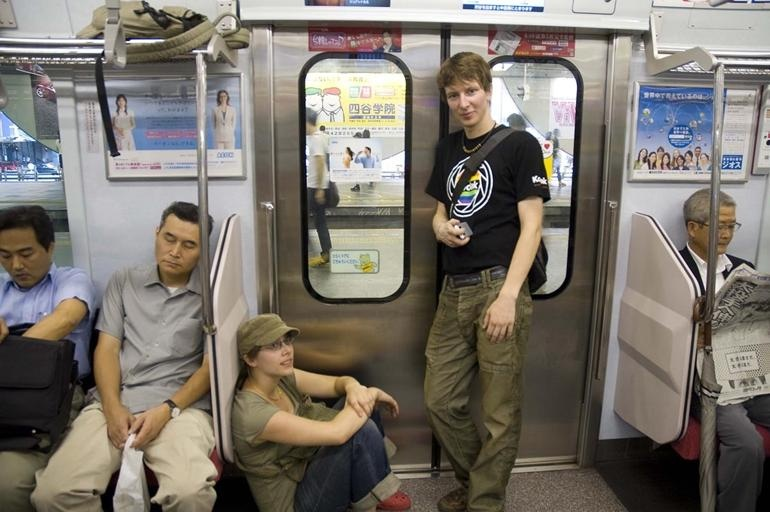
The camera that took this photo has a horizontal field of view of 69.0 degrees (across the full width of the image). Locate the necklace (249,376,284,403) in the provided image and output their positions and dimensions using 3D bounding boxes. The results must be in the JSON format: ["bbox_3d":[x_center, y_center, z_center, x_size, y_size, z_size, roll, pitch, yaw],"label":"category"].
[{"bbox_3d":[-0.672,0.774,3.272,0.118,0.142,0.191,10,16,36],"label":"necklace"}]

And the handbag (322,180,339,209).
[{"bbox_3d":[-0.366,-0.408,3.674,0.154,0.204,0.108,3,26,4],"label":"handbag"}]

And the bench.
[{"bbox_3d":[2.035,1.093,3.361,0.334,0.310,0.096,4,-3,17],"label":"bench"}]

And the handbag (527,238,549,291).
[{"bbox_3d":[0.907,0.052,3.351,0.138,0.267,0.286,-3,20,2],"label":"handbag"}]

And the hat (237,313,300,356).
[{"bbox_3d":[-0.679,0.434,3.200,0.324,0.142,0.222,-14,-4,17],"label":"hat"}]

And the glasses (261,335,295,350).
[{"bbox_3d":[-0.597,0.491,3.159,0.064,0.067,0.192,8,14,42],"label":"glasses"}]
